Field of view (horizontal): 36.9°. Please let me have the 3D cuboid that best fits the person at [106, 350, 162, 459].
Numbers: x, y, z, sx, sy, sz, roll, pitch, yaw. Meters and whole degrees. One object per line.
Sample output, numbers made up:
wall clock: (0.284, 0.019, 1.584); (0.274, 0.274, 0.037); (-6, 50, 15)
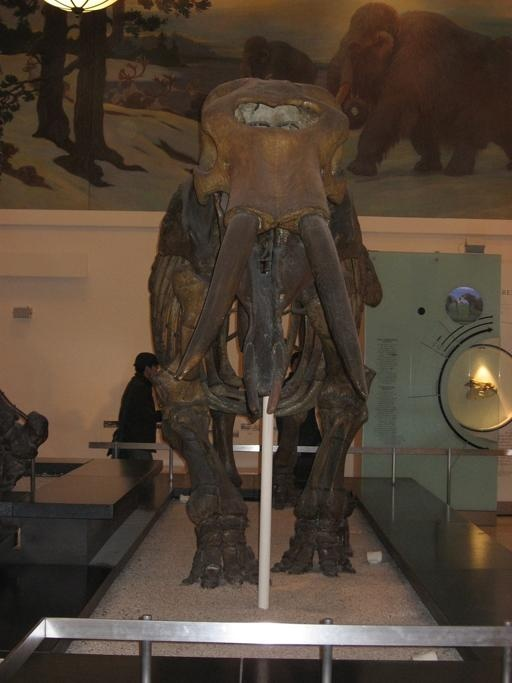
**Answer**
person: (-1.043, 0.568, 6.634); (0.433, 0.833, 1.114); (-2, 5, -9)
